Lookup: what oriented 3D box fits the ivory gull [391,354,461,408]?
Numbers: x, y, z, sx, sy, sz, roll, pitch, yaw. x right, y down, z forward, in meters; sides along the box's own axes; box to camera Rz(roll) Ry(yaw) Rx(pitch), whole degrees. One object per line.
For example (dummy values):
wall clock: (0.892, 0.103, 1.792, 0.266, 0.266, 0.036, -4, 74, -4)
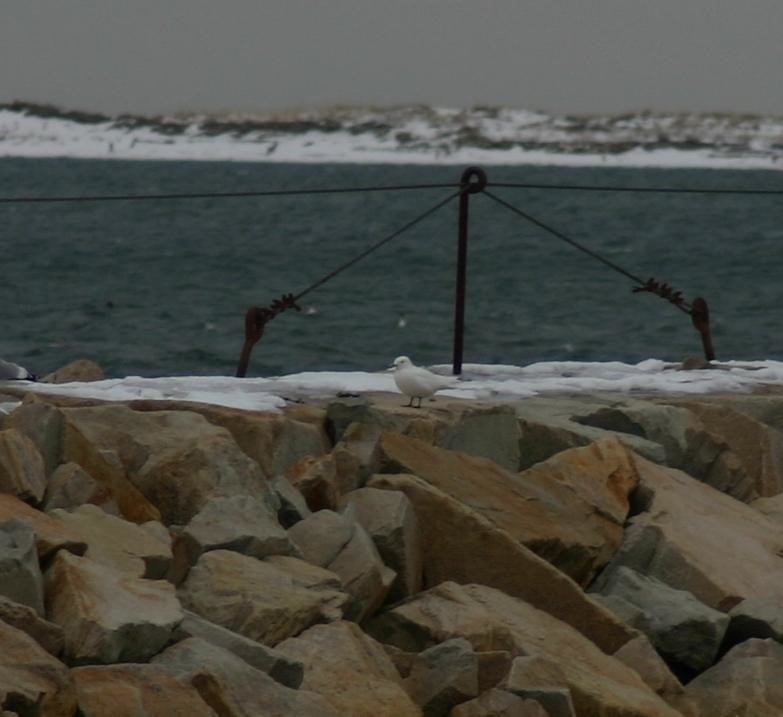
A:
ivory gull: (0.347, 0.262, 25.403, 0.947, 0.497, 0.421, 4, 6, -7)
